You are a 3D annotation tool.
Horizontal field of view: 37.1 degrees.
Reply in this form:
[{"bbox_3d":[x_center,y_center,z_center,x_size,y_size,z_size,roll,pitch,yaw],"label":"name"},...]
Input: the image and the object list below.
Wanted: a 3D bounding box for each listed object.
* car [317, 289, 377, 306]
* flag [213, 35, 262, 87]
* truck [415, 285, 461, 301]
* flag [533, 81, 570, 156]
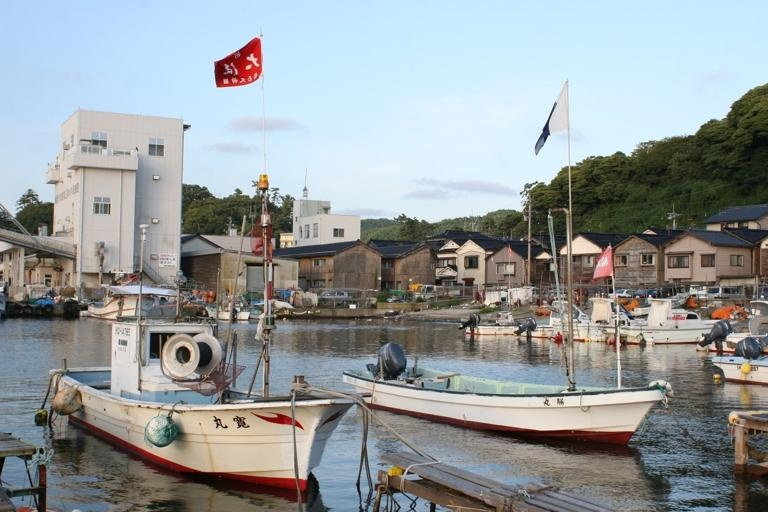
[{"bbox_3d":[-2.781,3.447,93.372,4.970,1.367,1.740,2,-2,-10],"label":"car"},{"bbox_3d":[-5.839,-7.782,46.105,1.904,2.038,0.155,-2,29,-13],"label":"flag"},{"bbox_3d":[4.203,3.066,94.465,2.261,1.350,4.742,-4,-7,36],"label":"truck"},{"bbox_3d":[6.926,-5.611,46.798,1.200,2.674,2.792,-1,-5,6],"label":"flag"}]
